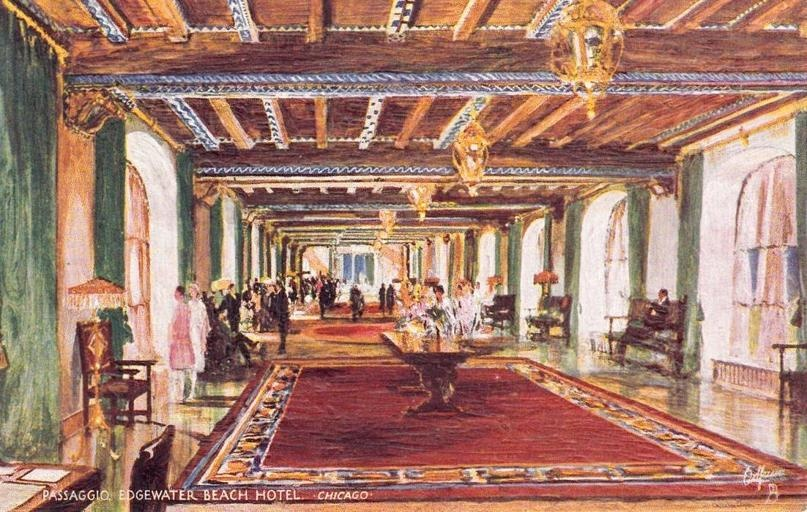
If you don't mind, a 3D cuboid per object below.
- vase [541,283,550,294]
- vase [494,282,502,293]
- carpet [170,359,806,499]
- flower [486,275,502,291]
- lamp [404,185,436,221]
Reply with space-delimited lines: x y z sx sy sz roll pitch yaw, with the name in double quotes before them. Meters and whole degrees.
"vase" 3.691 0.898 21.051 0.224 0.256 0.224 0 -3 -9
"vase" 3.109 1.092 26.607 0.422 0.407 0.225 0 -4 3
"carpet" 0.836 2.512 11.992 7.195 1.036 4.702 -1 -2 -1
"flower" 2.820 0.850 25.252 0.498 0.498 0.498 0 -5 -1
"lamp" 0.334 -1.028 16.547 0.582 0.831 0.300 2 8 -2
